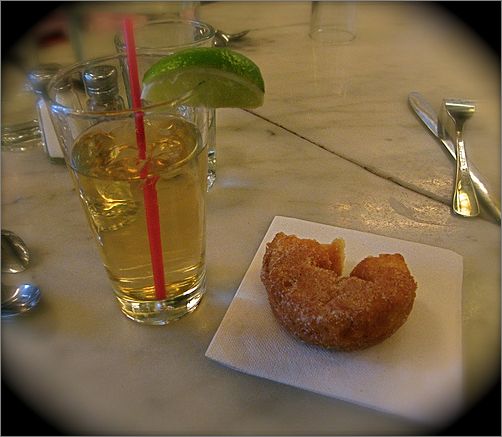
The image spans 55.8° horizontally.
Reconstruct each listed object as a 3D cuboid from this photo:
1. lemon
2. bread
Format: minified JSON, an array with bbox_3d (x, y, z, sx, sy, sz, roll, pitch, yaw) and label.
[{"bbox_3d":[-0.071,-0.186,0.624,0.173,0.076,0.076,3,61,-1],"label":"lemon"},{"bbox_3d":[0.113,0.096,0.639,0.210,0.068,0.152,7,37,9],"label":"bread"}]
